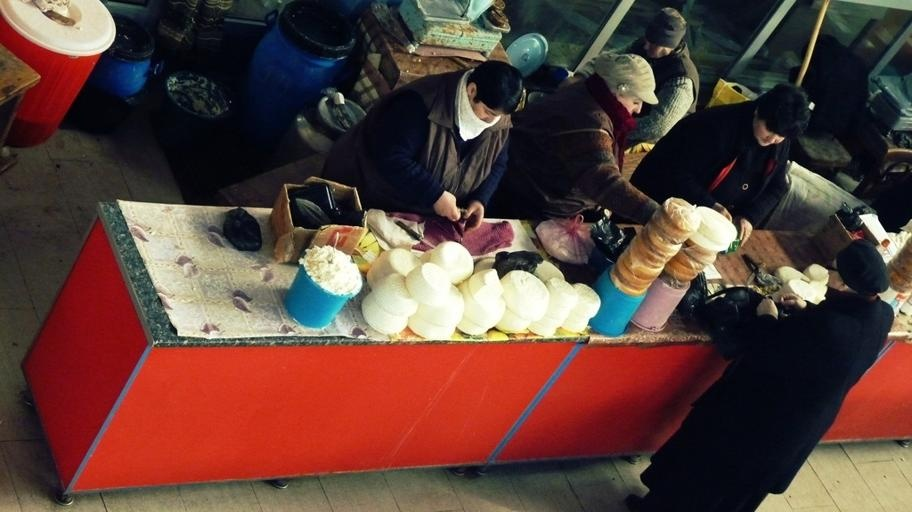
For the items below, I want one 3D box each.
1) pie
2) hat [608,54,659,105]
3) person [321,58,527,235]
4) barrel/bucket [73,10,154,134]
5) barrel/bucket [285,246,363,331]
[{"bbox_3d":[1.421,-0.045,5.078,0.350,0.805,0.336,28,45,-11],"label":"pie"},{"bbox_3d":[1.350,-1.315,5.533,0.384,0.198,0.269,33,50,12],"label":"hat"},{"bbox_3d":[-0.195,-0.877,5.222,1.211,1.285,0.594,21,30,-3],"label":"person"},{"bbox_3d":[-2.848,-1.503,6.028,0.587,0.869,0.861,19,35,-39],"label":"barrel/bucket"},{"bbox_3d":[-0.831,0.219,4.552,0.345,0.330,0.347,25,37,-20],"label":"barrel/bucket"}]
